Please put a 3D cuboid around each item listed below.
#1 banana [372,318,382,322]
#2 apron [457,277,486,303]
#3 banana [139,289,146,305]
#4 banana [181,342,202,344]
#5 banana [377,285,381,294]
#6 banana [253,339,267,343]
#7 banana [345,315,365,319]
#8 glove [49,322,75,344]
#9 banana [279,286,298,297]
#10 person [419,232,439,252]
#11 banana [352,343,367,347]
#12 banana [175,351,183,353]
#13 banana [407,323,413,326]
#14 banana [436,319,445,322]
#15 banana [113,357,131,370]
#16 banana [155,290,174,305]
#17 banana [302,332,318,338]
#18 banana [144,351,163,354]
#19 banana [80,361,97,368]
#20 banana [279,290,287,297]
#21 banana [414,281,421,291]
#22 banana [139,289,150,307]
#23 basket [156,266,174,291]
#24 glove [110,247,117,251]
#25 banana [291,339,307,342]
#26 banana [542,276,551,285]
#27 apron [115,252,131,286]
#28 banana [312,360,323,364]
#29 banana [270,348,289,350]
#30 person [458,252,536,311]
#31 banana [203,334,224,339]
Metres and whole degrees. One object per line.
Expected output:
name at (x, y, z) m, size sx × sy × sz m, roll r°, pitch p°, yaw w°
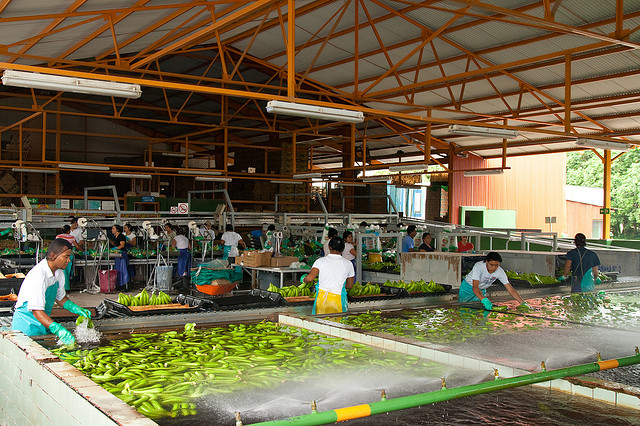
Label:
banana at (0.728, 1.365, 5.945) m, size 0.089 × 0.015 × 0.241 m, roll -2°, pitch 0°, yaw 17°
apron at (2.249, 1.198, 7.129) m, size 0.308 × 0.374 × 0.284 m, roll -2°, pitch 0°, yaw 33°
banana at (-2.325, 1.137, 6.223) m, size 0.047 × 0.142 × 0.053 m, roll 6°, pitch -24°, yaw -2°
banana at (-1.338, 1.363, 4.896) m, size 0.209 × 0.011 × 0.056 m, roll -1°, pitch 0°, yaw 5°
banana at (0.938, 1.230, 7.461) m, size 0.049 × 0.121 × 0.111 m, roll -2°, pitch 0°, yaw 8°
banana at (-0.640, 1.371, 4.977) m, size 0.168 × 0.019 × 0.093 m, roll -2°, pitch 0°, yaw 38°
banana at (0.432, 1.353, 6.080) m, size 0.232 × 0.010 × 0.175 m, roll -1°, pitch 0°, yaw -5°
glove at (-2.561, 1.203, 4.676) m, size 0.242 × 0.202 × 0.117 m, roll -2°, pitch 0°, yaw -11°
banana at (-0.465, 1.212, 7.262) m, size 0.166 × 0.083 × 0.165 m, roll 17°, pitch 17°, yaw 34°
person at (2.520, 0.662, 10.980) m, size 0.361 × 0.449 × 0.856 m, roll -2°, pitch 0°, yaw 20°
banana at (0.412, 1.399, 4.940) m, size 0.143 × 0.008 × 0.103 m, roll -2°, pitch 0°, yaw 13°
banana at (-1.370, 1.378, 4.608) m, size 0.063 × 0.012 × 0.050 m, roll -1°, pitch 0°, yaw -31°
banana at (1.101, 1.377, 5.752) m, size 0.060 × 0.006 × 0.152 m, roll -2°, pitch 0°, yaw 11°
banana at (1.539, 1.383, 6.011) m, size 0.084 × 0.004 × 0.135 m, roll -1°, pitch 0°, yaw -4°
banana at (-1.791, 1.397, 4.315) m, size 0.085 × 0.028 × 0.081 m, roll 28°, pitch 1°, yaw -13°
banana at (-2.072, 1.214, 6.333) m, size 0.234 × 0.270 × 0.117 m, roll -3°, pitch 17°, yaw -5°
banana at (-0.134, 1.376, 5.295) m, size 0.132 × 0.013 × 0.173 m, roll -2°, pitch 0°, yaw 26°
banana at (-1.609, 1.376, 4.591) m, size 0.131 × 0.016 × 0.053 m, roll -1°, pitch 0°, yaw -5°
banana at (-2.074, 1.389, 4.246) m, size 0.168 × 0.024 × 0.033 m, roll 16°, pitch -16°, yaw 27°
banana at (-0.544, 1.235, 7.212) m, size 0.067 × 0.089 × 0.144 m, roll -2°, pitch 0°, yaw -40°
banana at (1.665, 1.247, 7.958) m, size 0.070 × 0.153 × 0.176 m, roll -2°, pitch 0°, yaw 9°
banana at (-2.314, 1.139, 6.223) m, size 0.075 × 0.200 × 0.138 m, roll 20°, pitch -5°, yaw 1°
basket at (-4.184, 1.780, 12.705) m, size 0.389 × 0.644 × 0.255 m, roll -2°, pitch 0°, yaw -15°
glove at (-5.480, 0.959, 12.540) m, size 0.171 × 0.095 × 0.240 m, roll -2°, pitch 0°, yaw -26°
banana at (-0.209, 1.387, 5.072) m, size 0.144 × 0.012 × 0.099 m, roll -1°, pitch 0°, yaw -7°
banana at (4.453, 1.363, 9.318) m, size 0.072 × 0.028 × 0.123 m, roll -17°, pitch 32°, yaw -17°
apron at (-5.290, 1.527, 12.564) m, size 0.386 × 0.875 × 0.232 m, roll -2°, pitch 0°, yaw 17°
banana at (-0.018, 1.414, 4.425) m, size 0.091 × 0.007 × 0.079 m, roll -1°, pitch 0°, yaw -5°
banana at (-0.378, 1.401, 4.790) m, size 0.122 × 0.015 × 0.018 m, roll 4°, pitch 42°, yaw -8°
person at (2.953, 1.175, 7.871) m, size 0.696 × 1.064 × 1.095 m, roll -10°, pitch 20°, yaw -27°
banana at (-1.154, 1.358, 5.153) m, size 0.208 × 0.020 × 0.157 m, roll -1°, pitch 0°, yaw 0°
